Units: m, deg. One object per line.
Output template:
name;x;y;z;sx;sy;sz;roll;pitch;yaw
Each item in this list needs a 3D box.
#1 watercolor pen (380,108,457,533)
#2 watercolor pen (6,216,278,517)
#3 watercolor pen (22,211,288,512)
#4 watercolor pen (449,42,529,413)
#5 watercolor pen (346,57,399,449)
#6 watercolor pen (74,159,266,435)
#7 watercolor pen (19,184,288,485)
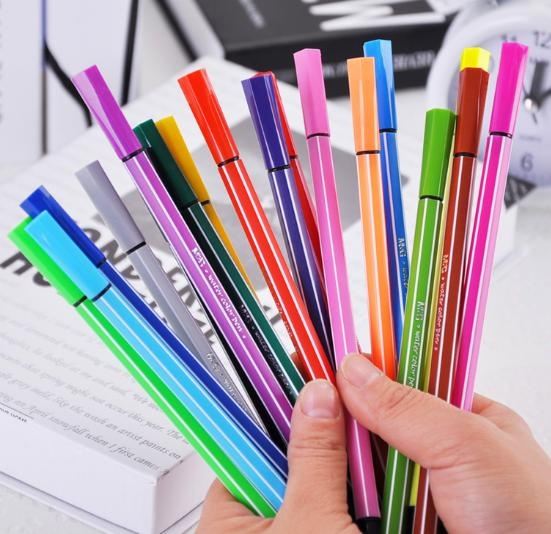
watercolor pen;0.108;0.030;0.478;0.043;0.304;0.043;5;-4;16
watercolor pen;-0.100;0.084;0.501;0.055;0.298;0.040;-41;1;4
watercolor pen;-0.090;0.079;0.495;0.050;0.301;0.043;-42;1;7
watercolor pen;0.133;-0.025;0.476;0.036;0.036;0.256;11;89;38
watercolor pen;0.071;-0.028;0.451;0.030;0.208;0.031;-1;1;33
watercolor pen;-0.076;0.030;0.490;0.037;0.276;0.030;-33;3;22
watercolor pen;-0.091;0.060;0.497;0.034;0.325;0.046;-45;11;-13
